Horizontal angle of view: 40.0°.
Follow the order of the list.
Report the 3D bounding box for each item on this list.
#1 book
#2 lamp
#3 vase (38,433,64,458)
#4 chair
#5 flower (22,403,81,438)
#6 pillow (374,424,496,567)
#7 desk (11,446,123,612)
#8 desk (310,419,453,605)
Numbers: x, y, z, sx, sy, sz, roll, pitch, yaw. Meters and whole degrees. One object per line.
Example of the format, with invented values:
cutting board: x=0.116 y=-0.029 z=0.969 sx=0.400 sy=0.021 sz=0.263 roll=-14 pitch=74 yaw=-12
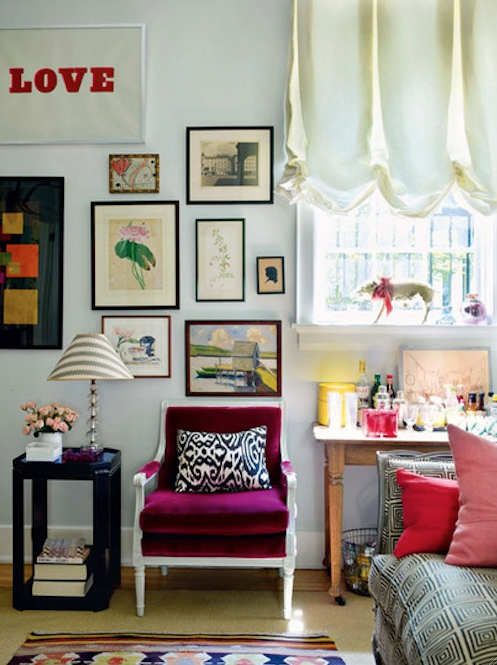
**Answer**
book: x=-0.828 y=1.052 z=3.037 sx=0.208 sy=0.158 sz=0.230 roll=1 pitch=-4 yaw=-1
lamp: x=-0.750 y=0.291 z=3.278 sx=0.361 sy=0.591 sz=0.499 roll=-1 pitch=5 yaw=-12
vase: x=-0.911 y=0.501 z=3.144 sx=0.095 sy=0.131 sz=0.102 roll=0 pitch=3 yaw=-20
chair: x=-0.138 y=0.802 z=3.191 sx=0.696 sy=0.828 sz=0.730 roll=1 pitch=5 yaw=2
flower: x=-0.926 y=0.400 z=3.256 sx=0.186 sy=0.156 sz=0.206 roll=1 pitch=3 yaw=11
pillow: x=0.681 y=0.608 z=2.495 sx=0.489 sy=0.505 sz=0.190 roll=4 pitch=-22 yaw=0
desk: x=-0.837 y=0.886 z=3.156 sx=0.467 sy=0.650 sz=0.442 roll=0 pitch=5 yaw=-9
desk: x=0.593 y=0.838 z=3.409 sx=0.586 sy=0.770 sz=0.705 roll=-1 pitch=1 yaw=-3
